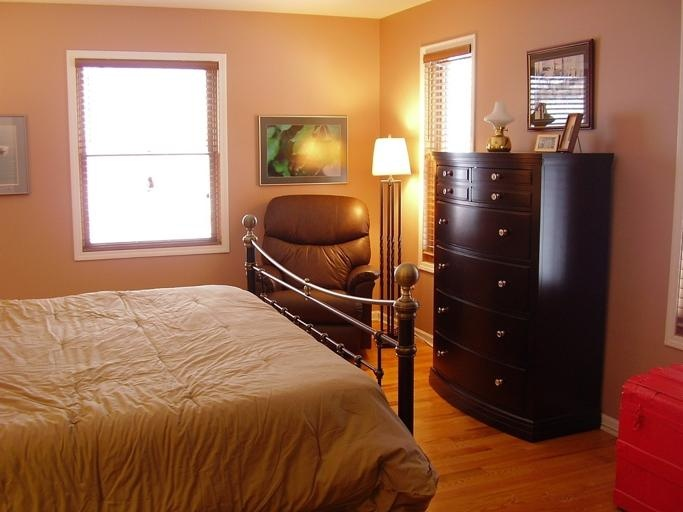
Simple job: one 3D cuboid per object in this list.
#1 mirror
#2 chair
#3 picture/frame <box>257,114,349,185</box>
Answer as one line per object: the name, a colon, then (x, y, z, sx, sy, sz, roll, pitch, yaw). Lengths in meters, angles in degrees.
mirror: (1.473, -1.154, 3.718, 0.056, 0.795, 0.698, -4, 5, -24)
chair: (-0.248, 0.149, 5.101, 1.104, 1.332, 1.113, 2, 8, 8)
picture/frame: (-0.385, -1.061, 5.587, 0.879, 0.713, 0.020, -2, 29, -8)
